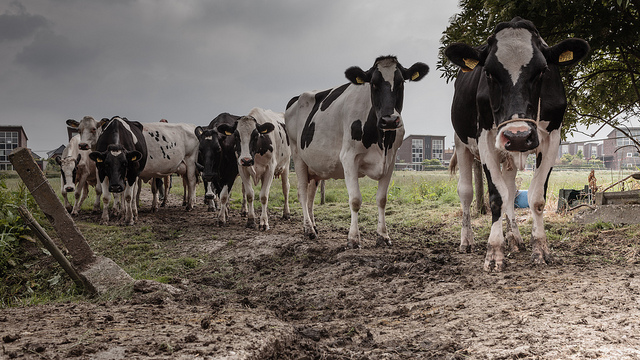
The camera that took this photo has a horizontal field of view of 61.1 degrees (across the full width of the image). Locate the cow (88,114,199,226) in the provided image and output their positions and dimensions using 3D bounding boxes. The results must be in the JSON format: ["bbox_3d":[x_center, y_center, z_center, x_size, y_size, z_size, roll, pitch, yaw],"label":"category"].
[{"bbox_3d":[-6.250,-0.422,19.530,1.731,3.401,6.423,3,6,23],"label":"cow"}]

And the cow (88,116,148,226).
[{"bbox_3d":[-7.012,-0.498,18.959,1.525,3.284,5.759,0,8,-17],"label":"cow"}]

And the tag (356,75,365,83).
[{"bbox_3d":[0.994,-2.483,13.433,0.185,0.151,0.090,-2,2,4],"label":"tag"}]

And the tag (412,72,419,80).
[{"bbox_3d":[2.377,-2.588,13.505,0.156,0.156,0.043,-7,3,-6],"label":"tag"}]

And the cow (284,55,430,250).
[{"bbox_3d":[0.707,-0.662,14.280,1.397,4.666,3.808,-4,2,-38],"label":"cow"}]

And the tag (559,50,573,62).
[{"bbox_3d":[5.257,-2.640,11.578,0.259,0.230,0.101,-2,2,23],"label":"tag"}]

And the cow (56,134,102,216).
[{"bbox_3d":[-8.856,-0.160,19.824,1.285,2.286,4.160,2,-1,-15],"label":"cow"}]

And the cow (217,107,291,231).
[{"bbox_3d":[-1.822,-0.437,17.385,1.593,3.828,2.678,-2,2,14],"label":"cow"}]

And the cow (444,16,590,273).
[{"bbox_3d":[4.270,-0.807,11.996,2.837,5.512,1.862,-1,2,41],"label":"cow"}]

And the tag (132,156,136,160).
[{"bbox_3d":[-5.872,-0.694,17.073,0.220,0.120,0.084,-15,-8,33],"label":"tag"}]
